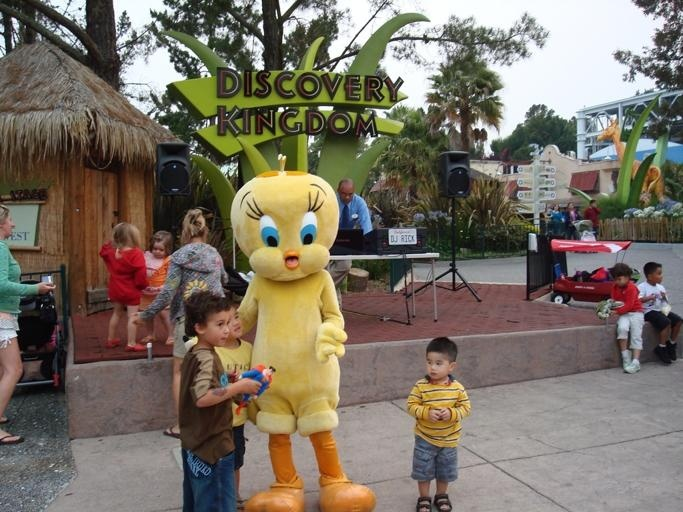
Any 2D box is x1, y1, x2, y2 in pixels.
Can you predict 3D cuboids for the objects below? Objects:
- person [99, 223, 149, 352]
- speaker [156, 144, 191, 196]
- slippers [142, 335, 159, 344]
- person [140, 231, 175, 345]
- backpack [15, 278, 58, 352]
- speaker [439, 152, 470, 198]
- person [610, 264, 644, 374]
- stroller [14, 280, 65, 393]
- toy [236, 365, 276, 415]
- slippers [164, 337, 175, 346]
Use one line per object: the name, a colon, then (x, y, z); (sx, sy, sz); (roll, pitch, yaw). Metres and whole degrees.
person: (-2.393, 0.238, 6.666); (0.622, 1.740, 0.540); (0, 0, -23)
speaker: (-2.282, -1.193, 8.197); (0.433, 0.702, 0.277); (-4, 11, -16)
slippers: (-2.145, 0.933, 6.766); (0.120, 0.090, 0.225); (-5, -16, 34)
person: (-1.987, 0.364, 6.506); (0.339, 1.197, 0.402); (8, 7, -10)
backpack: (-3.259, 0.646, 6.486); (0.292, 0.690, 0.334); (6, 8, -13)
speaker: (1.941, -1.411, 10.303); (0.512, 0.766, 0.398); (1, 11, 9)
person: (3.511, 0.737, 7.468); (0.411, 1.278, 0.542); (6, 13, 30)
stroller: (-3.290, 0.935, 6.809); (0.602, 1.474, 0.673); (8, 10, -32)
toy: (-0.634, 0.953, 4.256); (0.307, 0.355, 0.294); (-1, 8, -39)
slippers: (-1.857, 0.925, 6.523); (0.118, 0.111, 0.260); (1, -10, -14)
